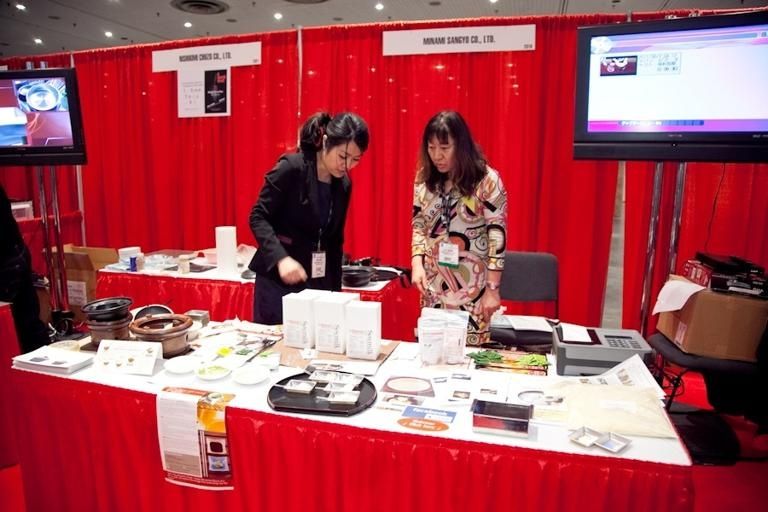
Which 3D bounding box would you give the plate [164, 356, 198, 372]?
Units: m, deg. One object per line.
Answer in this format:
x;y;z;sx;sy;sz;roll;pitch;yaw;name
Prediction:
-1.017;0.547;2.759;0.097;0.015;0.097;2;16;-4;plate

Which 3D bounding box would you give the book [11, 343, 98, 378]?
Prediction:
-1.682;0.532;2.794;0.246;0.064;0.183;7;11;20;book

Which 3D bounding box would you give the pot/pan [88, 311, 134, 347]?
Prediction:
-1.464;0.379;2.922;0.192;0.129;0.192;0;-4;-6;pot/pan

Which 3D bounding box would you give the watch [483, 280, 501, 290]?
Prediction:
0.675;0.182;3.444;0.063;0.043;0.076;2;-7;1;watch

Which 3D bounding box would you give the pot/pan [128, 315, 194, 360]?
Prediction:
-1.162;0.395;2.890;0.242;0.150;0.244;7;17;19;pot/pan

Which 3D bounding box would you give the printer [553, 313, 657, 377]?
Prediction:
1.095;0.465;2.808;0.299;0.132;0.312;1;12;12;printer

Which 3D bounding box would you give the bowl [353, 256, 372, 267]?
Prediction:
-0.166;0.046;4.387;0.109;0.053;0.081;0;7;-7;bowl
